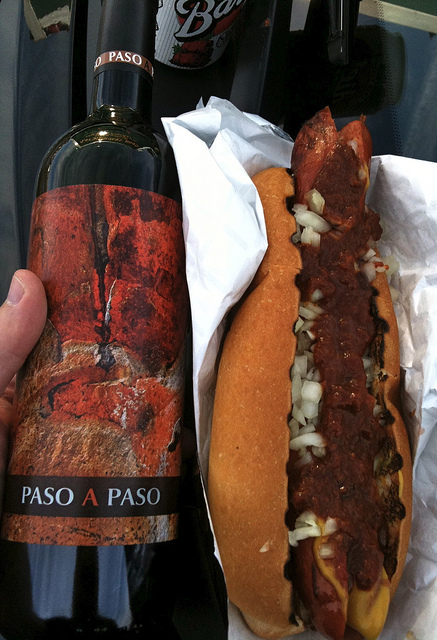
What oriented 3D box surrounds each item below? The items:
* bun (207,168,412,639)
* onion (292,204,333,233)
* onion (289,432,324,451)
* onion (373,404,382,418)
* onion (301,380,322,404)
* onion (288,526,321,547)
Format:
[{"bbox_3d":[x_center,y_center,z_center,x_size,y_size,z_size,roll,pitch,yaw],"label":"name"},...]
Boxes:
[{"bbox_3d":[0.093,0.116,0.765,0.267,0.177,0.591,3,80,-16],"label":"bun"},{"bbox_3d":[0.120,-0.131,0.737,0.047,0.015,0.031,36,61,-2],"label":"onion"},{"bbox_3d":[0.104,0.143,0.667,0.031,0.010,0.020,-19,91,-14],"label":"onion"},{"bbox_3d":[0.205,0.120,0.738,0.011,0.013,0.015,2,71,7],"label":"onion"},{"bbox_3d":[0.112,0.087,0.680,0.022,0.010,0.026,3,66,6],"label":"onion"},{"bbox_3d":[0.098,0.243,0.643,0.036,0.011,0.021,-30,80,2],"label":"onion"}]
